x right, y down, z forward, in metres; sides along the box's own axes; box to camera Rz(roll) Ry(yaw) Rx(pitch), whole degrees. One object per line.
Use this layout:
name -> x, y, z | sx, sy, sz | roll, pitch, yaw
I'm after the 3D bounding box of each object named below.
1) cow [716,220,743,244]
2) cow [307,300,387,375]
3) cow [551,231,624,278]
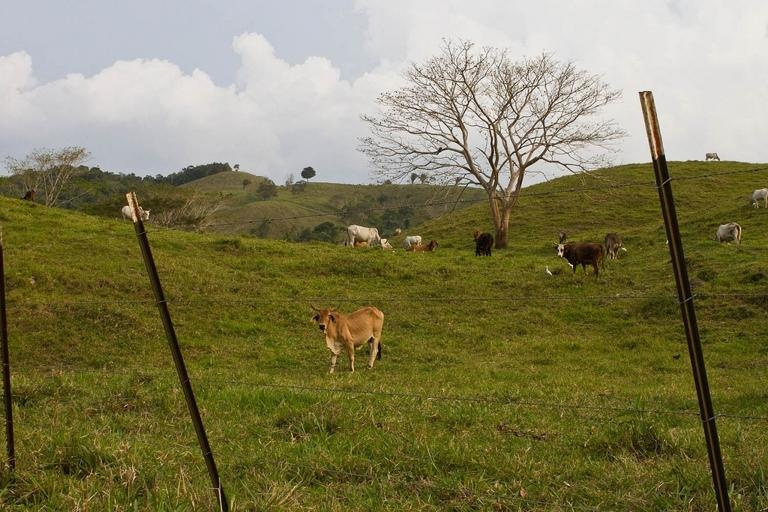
cow -> 14.708, -1.015, 32.834 | 1.083, 0.816, 1.351 | 11, 18, 34
cow -> -0.872, 2.336, 21.769 | 0.877, 1.805, 2.938 | -3, -4, 40
cow -> 8.228, -0.159, 32.396 | 1.218, 1.920, 3.266 | -1, 5, -44
